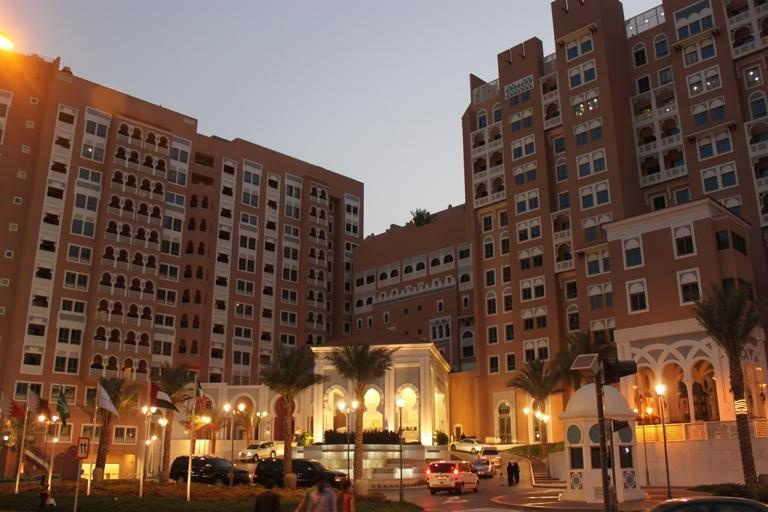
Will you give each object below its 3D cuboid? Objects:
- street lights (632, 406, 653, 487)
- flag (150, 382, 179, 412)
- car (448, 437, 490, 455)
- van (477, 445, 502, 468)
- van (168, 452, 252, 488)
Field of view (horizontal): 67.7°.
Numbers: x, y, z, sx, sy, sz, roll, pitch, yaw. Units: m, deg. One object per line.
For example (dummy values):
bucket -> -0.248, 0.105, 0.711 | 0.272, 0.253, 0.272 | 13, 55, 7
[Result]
street lights -> 19.977, 14.660, 43.315 | 0.860, 5.062, 0.879 | -3, -18, 20
flag -> -14.010, 8.764, 35.903 | 1.279, 1.509, 2.023 | 13, -26, -30
car -> 9.776, 21.791, 65.353 | 4.414, 1.490, 2.027 | -10, -13, 35
van -> 10.946, 20.141, 58.031 | 1.752, 1.628, 4.218 | -2, -21, 7
van -> -13.144, 14.854, 41.633 | 6.443, 2.619, 3.085 | -10, -23, 21
